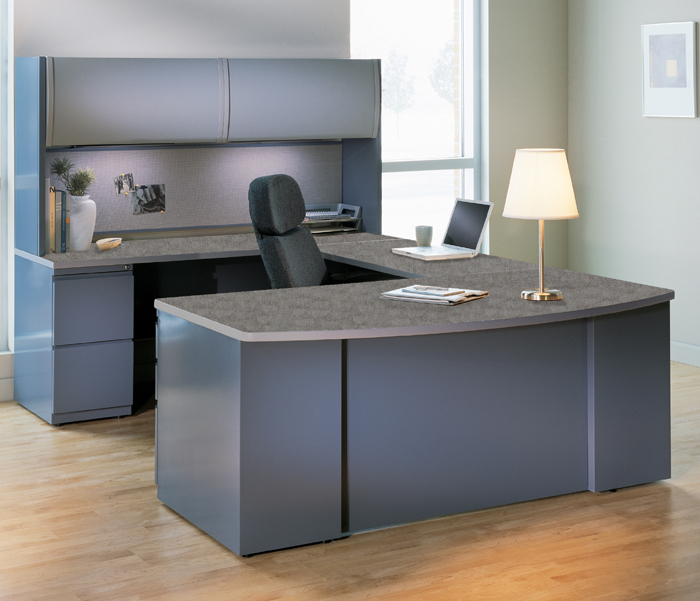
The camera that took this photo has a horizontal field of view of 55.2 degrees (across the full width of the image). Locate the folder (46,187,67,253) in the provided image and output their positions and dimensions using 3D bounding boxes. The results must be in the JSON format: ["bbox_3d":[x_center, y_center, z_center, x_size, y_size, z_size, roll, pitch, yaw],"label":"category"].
[{"bbox_3d":[-1.702,-0.471,3.895,0.100,0.382,0.140,4,8,41],"label":"folder"}]

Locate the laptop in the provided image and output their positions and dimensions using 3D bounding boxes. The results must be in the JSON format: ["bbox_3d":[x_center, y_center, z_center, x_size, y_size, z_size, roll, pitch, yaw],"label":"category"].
[{"bbox_3d":[0.536,-0.415,3.817,0.424,0.329,0.427,-5,12,-21],"label":"laptop"}]

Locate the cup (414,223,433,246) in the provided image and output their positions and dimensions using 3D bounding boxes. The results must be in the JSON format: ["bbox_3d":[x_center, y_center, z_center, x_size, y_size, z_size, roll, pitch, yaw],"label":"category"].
[{"bbox_3d":[0.429,-0.377,3.885,0.104,0.122,0.108,0,9,0],"label":"cup"}]

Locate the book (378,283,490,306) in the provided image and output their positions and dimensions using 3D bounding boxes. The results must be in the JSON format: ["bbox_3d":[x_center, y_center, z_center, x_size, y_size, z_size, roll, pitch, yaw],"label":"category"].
[{"bbox_3d":[0.360,-0.031,2.706,0.338,0.053,0.362,4,8,38],"label":"book"}]
